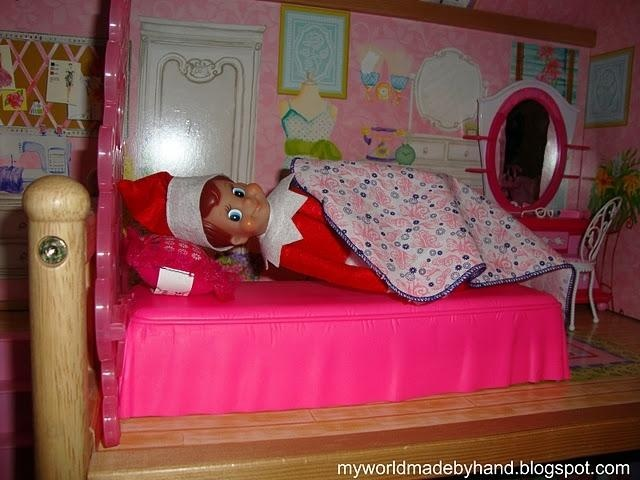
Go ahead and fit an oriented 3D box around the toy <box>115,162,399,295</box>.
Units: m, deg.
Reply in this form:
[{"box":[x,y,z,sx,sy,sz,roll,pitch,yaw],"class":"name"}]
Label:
[{"box":[-0.323,-0.035,2.547,1.292,0.353,0.668,12,47,-20],"class":"toy"}]
